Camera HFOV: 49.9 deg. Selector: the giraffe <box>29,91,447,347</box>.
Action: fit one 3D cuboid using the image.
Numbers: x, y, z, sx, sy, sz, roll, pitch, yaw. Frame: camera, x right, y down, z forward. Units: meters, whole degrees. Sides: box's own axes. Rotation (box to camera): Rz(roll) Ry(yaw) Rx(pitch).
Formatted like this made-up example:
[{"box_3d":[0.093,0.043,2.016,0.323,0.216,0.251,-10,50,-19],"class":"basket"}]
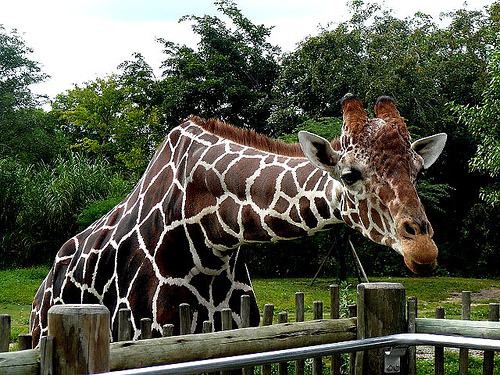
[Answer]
[{"box_3d":[-0.216,0.257,4.821,3.753,2.227,0.800,-8,-12,36],"class":"giraffe"}]
